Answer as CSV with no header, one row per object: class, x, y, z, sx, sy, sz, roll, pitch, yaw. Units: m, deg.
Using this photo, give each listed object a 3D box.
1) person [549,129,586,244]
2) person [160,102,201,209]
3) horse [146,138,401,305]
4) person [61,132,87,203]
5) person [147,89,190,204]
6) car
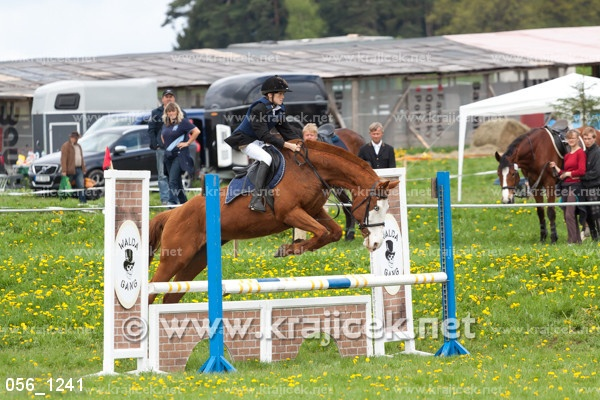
person,7.942,-0.331,40.383,0.939,3.120,0.865,2,0,-18
person,-3.655,-1.333,40.552,1.231,2.994,1.041,2,1,35
horse,-0.639,0.709,36.510,8.512,4.504,1.752,-16,-12,11
person,-7.311,-0.998,44.439,0.813,2.273,0.684,-3,8,-17
person,-3.948,-1.477,41.007,1.058,3.086,1.205,2,-1,4
car,-6.183,-1.553,46.619,5.815,2.322,2.725,-1,2,-33
